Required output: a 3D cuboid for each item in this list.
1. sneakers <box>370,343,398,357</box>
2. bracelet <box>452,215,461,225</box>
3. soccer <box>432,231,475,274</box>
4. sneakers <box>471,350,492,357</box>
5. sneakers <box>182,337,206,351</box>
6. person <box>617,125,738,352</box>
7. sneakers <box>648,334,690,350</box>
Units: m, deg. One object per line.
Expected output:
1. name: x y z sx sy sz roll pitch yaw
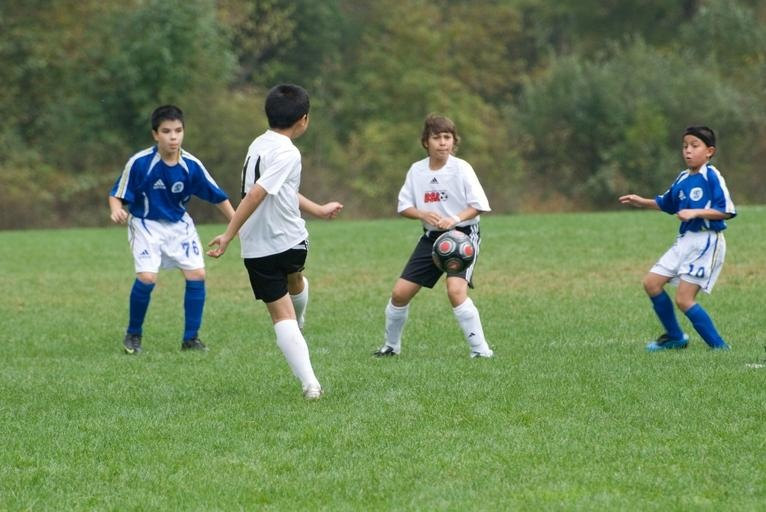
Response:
1. sneakers: -0.006 1.533 20.373 0.391 0.167 0.169 2 -7 0
2. bracelet: 1.136 -0.585 19.978 0.118 0.112 0.146 1 9 5
3. soccer: 1.102 -0.039 20.195 0.625 0.634 0.630 33 1 6
4. sneakers: 1.533 1.583 20.199 0.299 0.138 0.111 4 -2 -1
5. sneakers: -3.135 1.466 20.744 0.376 0.175 0.190 -2 0 19
6. person: 4.877 -0.280 20.228 1.367 3.605 0.705 3 8 16
7. sneakers: 4.571 1.418 20.426 0.656 0.272 0.262 2 -6 4
